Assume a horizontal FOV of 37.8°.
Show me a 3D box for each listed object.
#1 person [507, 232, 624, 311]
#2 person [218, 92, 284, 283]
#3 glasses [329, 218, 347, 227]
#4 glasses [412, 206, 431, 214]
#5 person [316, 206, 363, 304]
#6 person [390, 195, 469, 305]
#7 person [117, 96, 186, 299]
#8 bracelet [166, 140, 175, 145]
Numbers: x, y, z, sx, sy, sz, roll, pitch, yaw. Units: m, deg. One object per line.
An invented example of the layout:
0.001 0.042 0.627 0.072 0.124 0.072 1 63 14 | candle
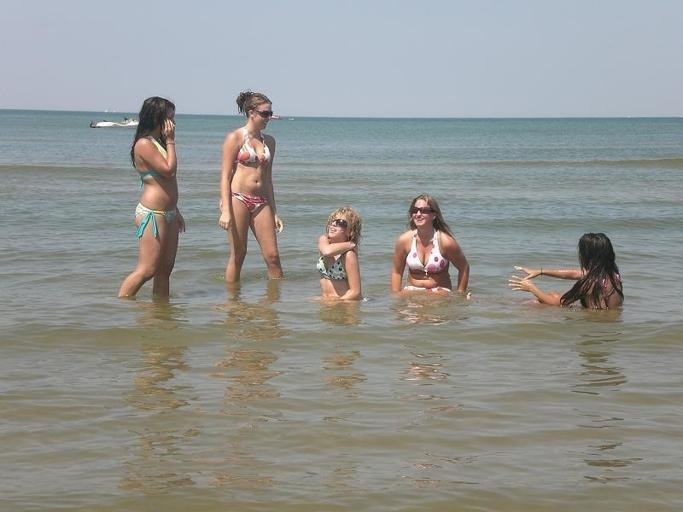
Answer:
2.974 0.198 12.574 0.969 0.951 0.400 -1 1 31 | person
-1.230 -0.884 13.228 0.792 1.824 1.337 -2 1 -3 | person
-0.044 -0.402 12.291 0.201 0.067 0.052 -1 1 13 | glasses
0.988 -0.562 12.460 0.267 0.097 0.080 -1 1 17 | glasses
-0.041 -0.024 12.523 0.531 0.783 0.597 -2 1 -1 | person
1.109 -0.137 12.774 0.988 1.283 0.715 -2 1 3 | person
-2.321 -0.753 12.142 0.572 1.809 0.785 -2 1 -12 | person
-2.075 -1.362 11.889 0.112 0.061 0.098 3 13 16 | bracelet
